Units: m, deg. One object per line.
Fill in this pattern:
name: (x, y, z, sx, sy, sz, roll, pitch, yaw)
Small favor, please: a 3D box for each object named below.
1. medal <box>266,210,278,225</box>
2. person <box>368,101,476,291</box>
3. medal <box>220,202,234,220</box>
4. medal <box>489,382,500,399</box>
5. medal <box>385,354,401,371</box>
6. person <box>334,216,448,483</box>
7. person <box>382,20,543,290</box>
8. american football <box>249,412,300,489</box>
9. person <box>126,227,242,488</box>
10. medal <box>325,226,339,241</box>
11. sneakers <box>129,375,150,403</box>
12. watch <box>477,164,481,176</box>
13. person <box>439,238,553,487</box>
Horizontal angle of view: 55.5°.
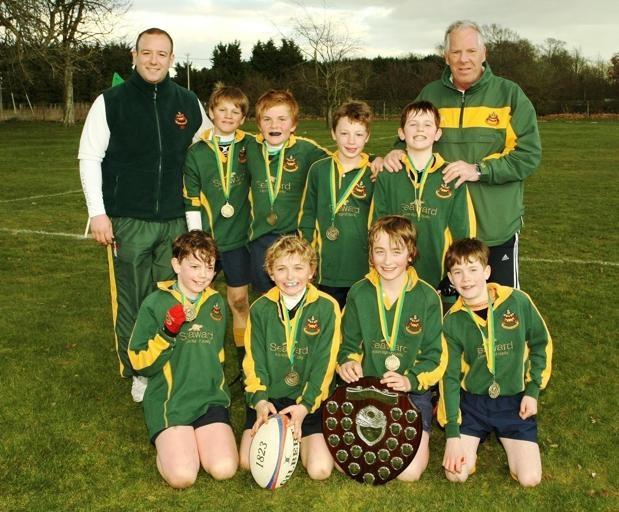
medal: (-0.329, -0.347, 5.233, 0.094, 0.130, 0.072, -3, 13, -5)
person: (0.912, -0.351, 4.850, 0.820, 1.886, 0.558, 8, 35, 23)
medal: (-0.731, -0.412, 5.265, 0.120, 0.143, 0.090, -4, 13, -6)
medal: (1.351, 0.972, 4.277, 0.099, 0.164, 0.013, 2, -3, 13)
medal: (0.614, 0.783, 4.367, 0.085, 0.127, 0.029, -2, -8, 18)
person: (0.582, 0.663, 4.493, 0.758, 1.911, 0.782, 7, 19, 24)
person: (1.386, -0.490, 5.134, 1.083, 2.968, 0.931, 1, 16, 28)
american football: (-0.244, 1.322, 4.003, 0.312, 0.513, 0.297, 7, -19, -7)
person: (-0.903, 0.682, 4.207, 0.719, 1.548, 0.974, -6, 13, -18)
medal: (0.196, -0.195, 4.999, 0.104, 0.116, 0.021, 8, 4, 37)
sneakers: (-1.384, 1.073, 4.832, 0.161, 0.290, 0.088, -5, -10, 25)
watch: (1.348, -0.691, 4.673, 0.018, 0.070, 0.067, -7, -11, 7)
person: (1.320, 0.867, 4.149, 0.792, 1.170, 0.830, 1, 13, 15)
